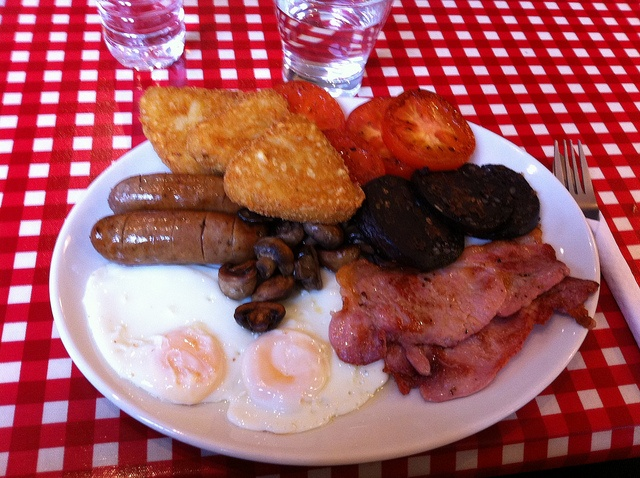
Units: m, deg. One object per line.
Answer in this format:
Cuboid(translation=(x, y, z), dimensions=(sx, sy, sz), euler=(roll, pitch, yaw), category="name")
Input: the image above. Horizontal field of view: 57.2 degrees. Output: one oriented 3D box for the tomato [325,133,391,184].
Cuboid(translation=(0.168, -0.430, 2.804), dimensions=(0.271, 0.211, 0.082), euler=(45, 108, 0), category="tomato")
